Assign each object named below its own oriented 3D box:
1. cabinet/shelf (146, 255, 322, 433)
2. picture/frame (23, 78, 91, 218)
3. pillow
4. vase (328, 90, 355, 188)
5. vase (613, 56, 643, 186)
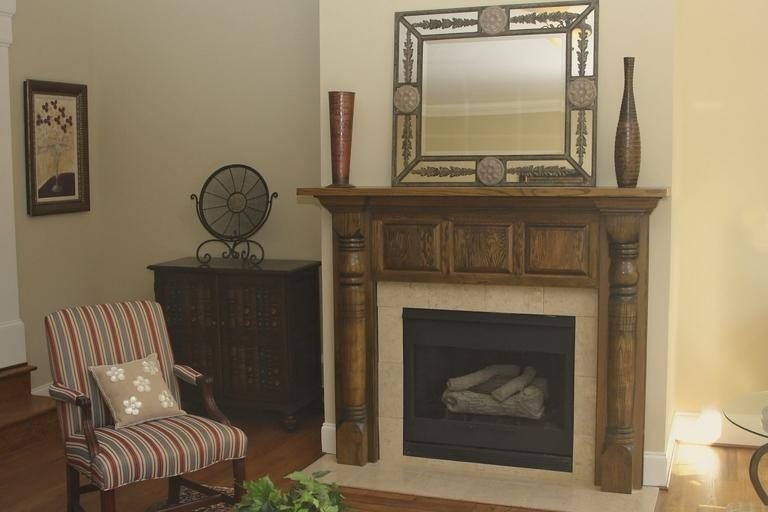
[{"bbox_3d":[-1.242,0.731,6.125,1.478,1.311,0.641,1,5,23],"label":"cabinet/shelf"},{"bbox_3d":[-2.858,-0.933,6.162,0.105,1.151,0.566,3,4,34],"label":"picture/frame"},{"bbox_3d":[-1.551,0.845,4.574,0.528,0.471,0.156,-7,6,8],"label":"pillow"},{"bbox_3d":[-0.308,-0.830,5.048,0.183,0.658,0.183,0,4,-3],"label":"vase"},{"bbox_3d":[1.571,-0.864,4.561,0.112,0.832,0.125,-3,5,-39],"label":"vase"}]
